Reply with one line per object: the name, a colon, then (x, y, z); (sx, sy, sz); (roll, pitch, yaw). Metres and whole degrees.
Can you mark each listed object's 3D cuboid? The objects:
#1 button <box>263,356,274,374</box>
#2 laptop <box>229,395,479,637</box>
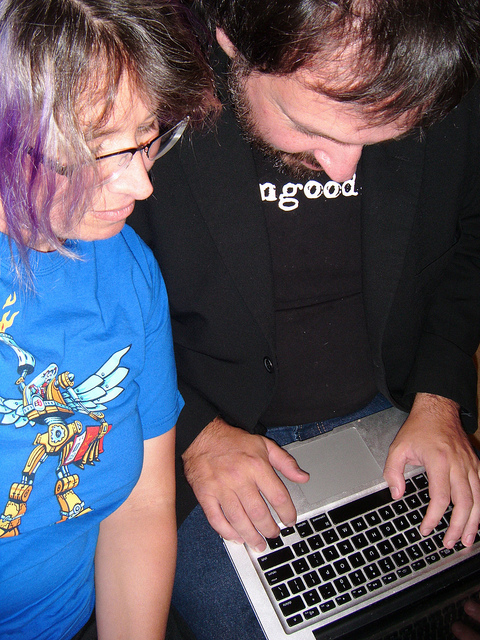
button: (0.064, 0.105, 1.290); (0.014, 0.041, 0.036); (-22, 43, -12)
laptop: (0.204, 0.402, 1.113); (0.450, 0.151, 0.475); (-14, 40, -7)
